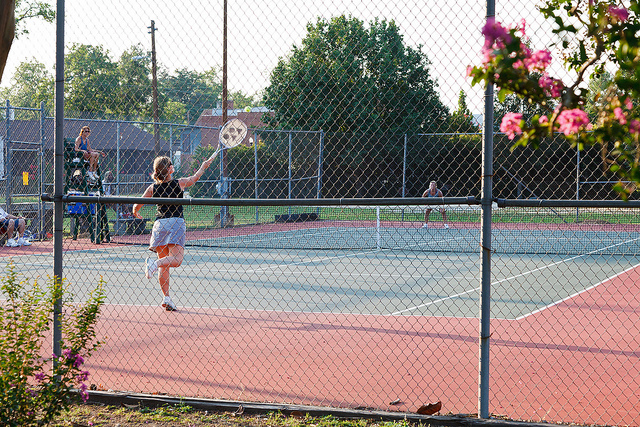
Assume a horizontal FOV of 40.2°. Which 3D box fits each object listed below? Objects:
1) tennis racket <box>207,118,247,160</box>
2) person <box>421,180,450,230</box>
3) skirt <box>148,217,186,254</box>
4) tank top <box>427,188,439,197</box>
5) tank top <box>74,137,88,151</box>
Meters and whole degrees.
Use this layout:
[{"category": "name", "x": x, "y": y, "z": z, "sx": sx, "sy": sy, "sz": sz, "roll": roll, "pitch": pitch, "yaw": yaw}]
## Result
[{"category": "tennis racket", "x": -1.345, "y": -1.125, "z": 12.920, "sx": 0.396, "sy": 0.690, "sz": 0.463, "roll": 1, "pitch": 0, "yaw": 34}, {"category": "person", "x": 2.672, "y": -0.232, "z": 20.380, "sx": 0.566, "sy": 1.434, "sz": 0.518, "roll": -4, "pitch": -1, "yaw": -8}, {"category": "skirt", "x": -2.313, "y": 0.238, "z": 13.443, "sx": 0.456, "sy": 0.501, "sz": 0.280, "roll": 6, "pitch": 19, "yaw": 35}, {"category": "tank top", "x": 2.896, "y": -0.542, "z": 22.613, "sx": 0.245, "sy": 0.328, "sz": 0.339, "roll": 0, "pitch": 9, "yaw": 1}, {"category": "tank top", "x": -5.176, "y": -1.518, "z": 19.177, "sx": 0.180, "sy": 0.297, "sz": 0.551, "roll": 2, "pitch": 0, "yaw": -15}]
